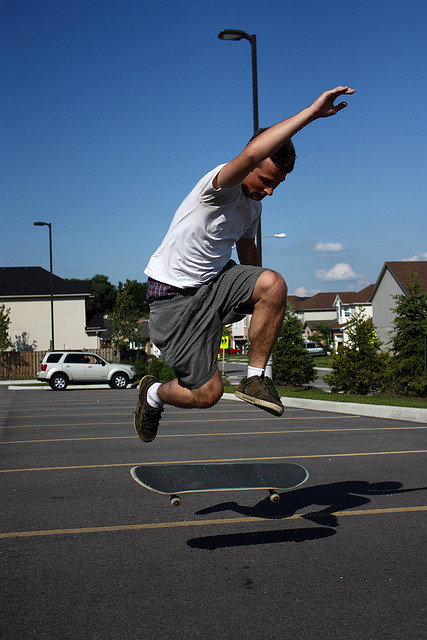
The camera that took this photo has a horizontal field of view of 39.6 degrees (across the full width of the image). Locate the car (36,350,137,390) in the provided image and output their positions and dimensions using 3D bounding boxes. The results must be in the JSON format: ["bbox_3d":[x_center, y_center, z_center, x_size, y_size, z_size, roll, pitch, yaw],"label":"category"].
[{"bbox_3d":[-5.161,2.042,24.548,3.796,1.422,1.598,-2,-1,-9],"label":"car"}]

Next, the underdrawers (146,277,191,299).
[{"bbox_3d":[-0.284,-0.209,3.518,0.199,0.105,0.146,7,2,13],"label":"underdrawers"}]

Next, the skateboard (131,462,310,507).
[{"bbox_3d":[0.049,0.899,3.385,1.218,0.167,0.390,2,7,-15],"label":"skateboard"}]
